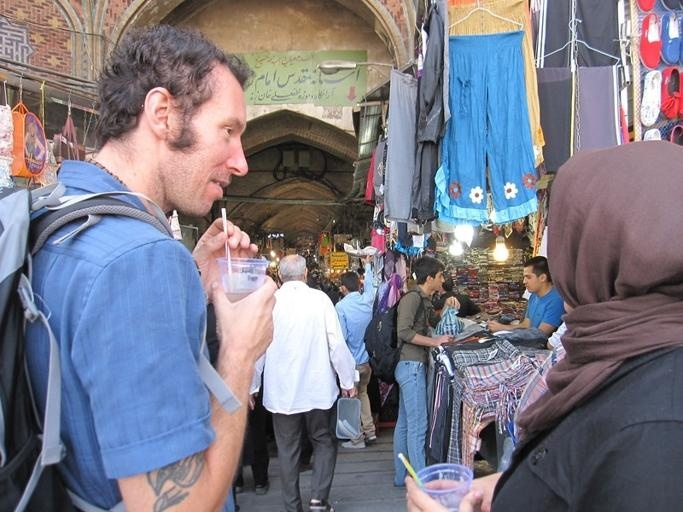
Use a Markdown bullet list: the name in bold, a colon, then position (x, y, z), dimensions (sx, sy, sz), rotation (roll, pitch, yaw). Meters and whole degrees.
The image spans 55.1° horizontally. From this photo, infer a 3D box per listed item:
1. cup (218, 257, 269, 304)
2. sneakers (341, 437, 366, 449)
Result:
- **cup**: position (-0.316, 0.082, 2.187), dimensions (0.133, 0.117, 0.140), rotation (1, -1, 0)
- **sneakers**: position (0.127, 1.927, 6.745), dimensions (0.225, 0.191, 0.104), rotation (4, -13, 1)
